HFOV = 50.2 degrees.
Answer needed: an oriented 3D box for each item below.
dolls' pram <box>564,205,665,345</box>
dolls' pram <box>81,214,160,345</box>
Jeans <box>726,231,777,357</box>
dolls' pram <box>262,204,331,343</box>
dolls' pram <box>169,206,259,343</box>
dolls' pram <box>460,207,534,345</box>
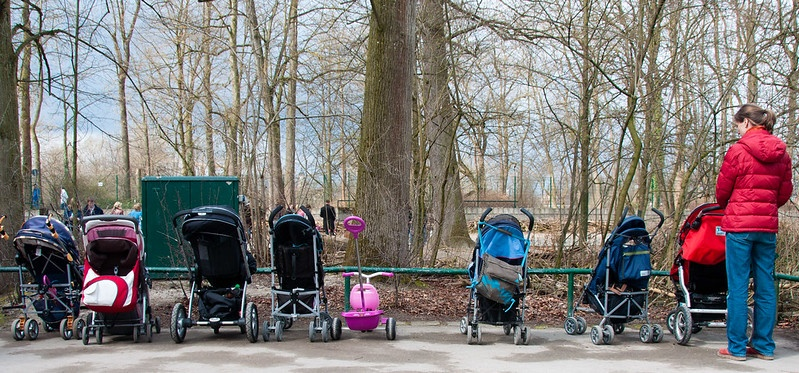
[{"bbox_3d":[5.958,2.440,22.928,1.850,3.521,0.709,-2,-4,10],"label":"dolls' pram"},{"bbox_3d":[-7.554,2.473,22.775,1.816,3.410,0.813,0,-4,-18],"label":"dolls' pram"},{"bbox_3d":[9.044,2.756,21.903,1.247,3.177,0.508,-1,-4,-6],"label":"Jeans"},{"bbox_3d":[-2.779,2.358,23.106,1.779,3.623,1.358,-1,-4,-6],"label":"dolls' pram"},{"bbox_3d":[-4.933,2.356,23.049,2.149,3.648,1.655,-3,-4,19],"label":"dolls' pram"},{"bbox_3d":[2.610,2.397,22.896,1.599,3.639,1.380,0,-4,-21],"label":"dolls' pram"}]
